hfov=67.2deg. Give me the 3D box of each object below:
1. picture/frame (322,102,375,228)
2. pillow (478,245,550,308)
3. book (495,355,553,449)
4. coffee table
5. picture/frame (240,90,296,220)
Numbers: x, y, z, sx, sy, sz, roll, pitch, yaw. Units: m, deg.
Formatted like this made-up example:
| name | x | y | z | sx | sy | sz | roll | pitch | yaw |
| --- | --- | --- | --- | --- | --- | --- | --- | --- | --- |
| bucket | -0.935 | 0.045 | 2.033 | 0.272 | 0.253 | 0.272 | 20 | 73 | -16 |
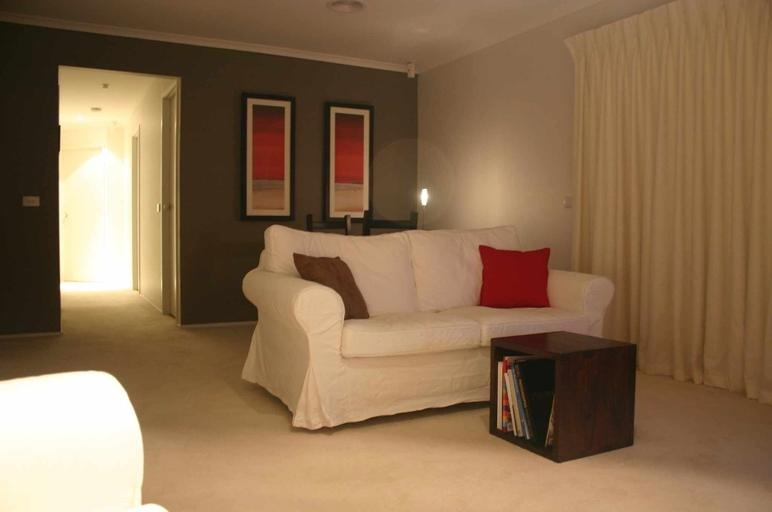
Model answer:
| name | x | y | z | sx | sy | sz | roll | pitch | yaw |
| --- | --- | --- | --- | --- | --- | --- | --- | --- | --- |
| picture/frame | -0.446 | -1.139 | 7.057 | 0.595 | 1.381 | 0.104 | -2 | 6 | -26 |
| pillow | 0.975 | 0.179 | 4.446 | 0.423 | 0.400 | 0.158 | 2 | -24 | 9 |
| book | 0.840 | 0.886 | 3.531 | 0.452 | 0.470 | 0.108 | 7 | -8 | -36 |
| coffee table | 1.034 | 0.745 | 3.689 | 0.737 | 0.743 | 0.741 | -1 | 3 | -24 |
| picture/frame | -1.343 | -1.114 | 6.632 | 0.558 | 1.394 | 0.163 | 0 | 6 | -17 |
